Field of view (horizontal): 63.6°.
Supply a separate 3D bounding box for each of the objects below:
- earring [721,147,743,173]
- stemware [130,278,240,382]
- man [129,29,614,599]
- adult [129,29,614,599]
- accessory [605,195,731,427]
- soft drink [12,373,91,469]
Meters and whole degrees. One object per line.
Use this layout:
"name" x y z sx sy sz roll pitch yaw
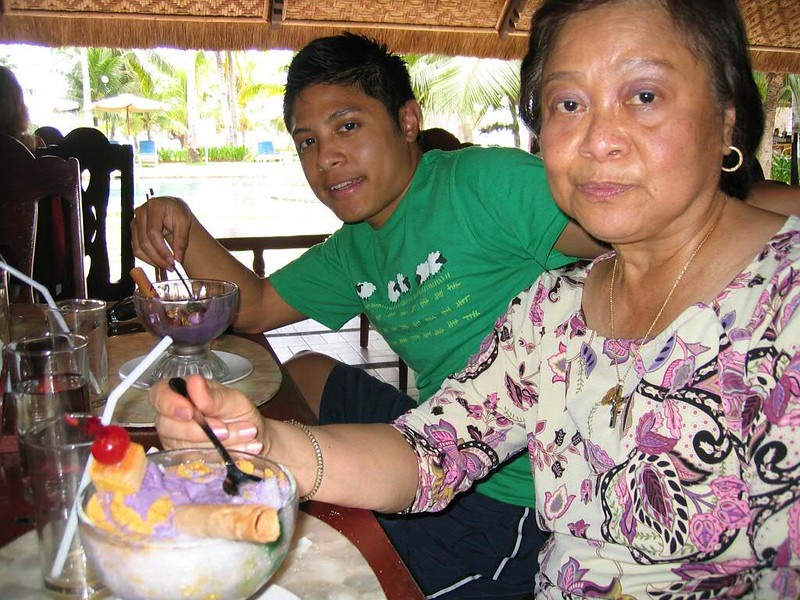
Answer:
"earring" 0.641 -0.271 1.222 0.041 0.040 0.009 -2 11 18
"stemware" -0.509 0.071 1.718 0.300 0.277 0.284 0 2 -1
"man" 0.021 0.070 2.765 1.650 2.387 1.341 -11 -7 -17
"adult" 0.005 0.079 2.777 1.650 2.387 1.341 -11 -7 -17
"accessory" 0.508 0.016 1.277 0.150 0.463 0.025 17 -22 37
"soft drink" -0.597 0.189 1.095 0.099 0.103 0.091 2 5 -22
